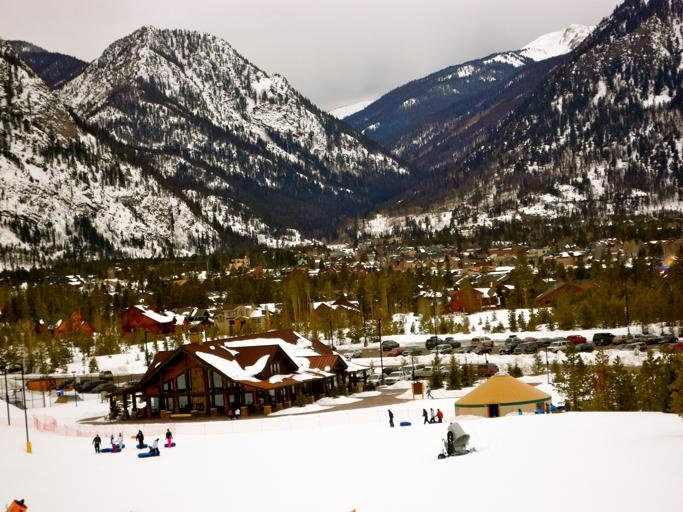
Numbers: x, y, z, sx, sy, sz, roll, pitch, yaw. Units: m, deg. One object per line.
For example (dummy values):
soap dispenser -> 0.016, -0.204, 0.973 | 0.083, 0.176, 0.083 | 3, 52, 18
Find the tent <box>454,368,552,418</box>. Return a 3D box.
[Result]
tent -> 22.679, 19.763, 153.364 | 12.218, 4.984, 3.825 | -2, 4, -2
